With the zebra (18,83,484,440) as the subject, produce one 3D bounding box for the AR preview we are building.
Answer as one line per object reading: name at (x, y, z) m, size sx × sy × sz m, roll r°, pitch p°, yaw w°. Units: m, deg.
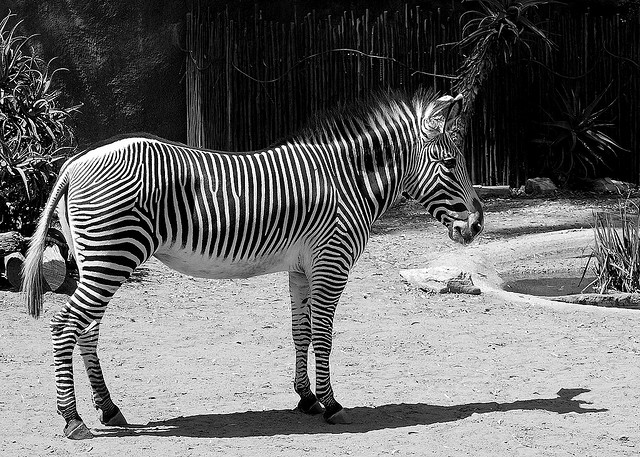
zebra at (-0.551, 0.226, 7.894) m, size 3.435 × 2.661 × 1.088 m, roll -6°, pitch 14°, yaw -22°
